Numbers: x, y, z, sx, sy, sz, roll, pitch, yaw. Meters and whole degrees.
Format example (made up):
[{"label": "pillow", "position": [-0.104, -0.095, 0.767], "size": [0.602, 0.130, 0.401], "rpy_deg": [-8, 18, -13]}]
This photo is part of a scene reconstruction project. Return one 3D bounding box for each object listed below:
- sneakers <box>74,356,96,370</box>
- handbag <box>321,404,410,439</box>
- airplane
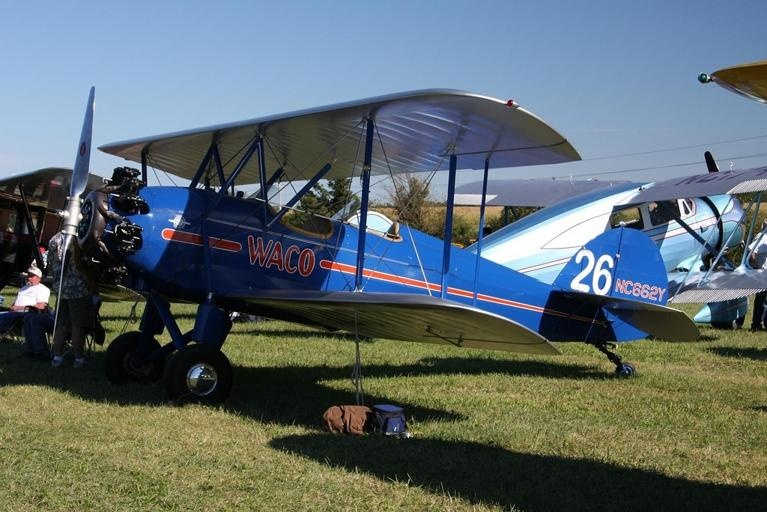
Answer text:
[{"label": "sneakers", "position": [-4.216, 1.494, 9.356], "size": [0.218, 0.136, 0.257], "rpy_deg": [-5, -20, 6]}, {"label": "handbag", "position": [-0.193, 1.777, 7.181], "size": [0.586, 0.194, 0.428], "rpy_deg": [6, -8, -26]}, {"label": "airplane", "position": [0.486, -0.150, 9.390], "size": [8.892, 3.760, 5.294], "rpy_deg": [0, 6, -29]}]
